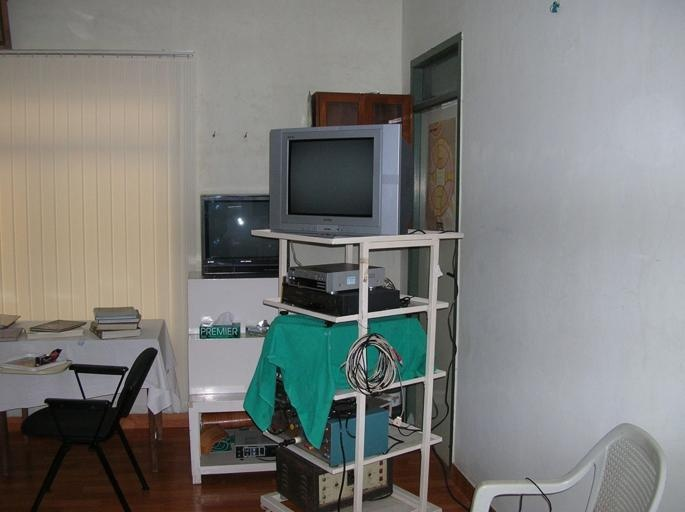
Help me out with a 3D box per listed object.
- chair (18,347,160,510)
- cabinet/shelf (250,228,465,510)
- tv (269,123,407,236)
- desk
[{"bbox_3d":[-1.590,1.079,3.961,0.890,1.253,0.892,6,-1,-13],"label":"chair"},{"bbox_3d":[0.191,0.700,3.599,1.306,1.751,0.706,-5,8,-30],"label":"cabinet/shelf"},{"bbox_3d":[0.017,-0.366,3.473,0.969,0.809,0.567,1,3,26],"label":"tv"},{"bbox_3d":[-1.753,0.894,4.050,0.990,0.729,1.074,-1,1,-11],"label":"desk"}]
